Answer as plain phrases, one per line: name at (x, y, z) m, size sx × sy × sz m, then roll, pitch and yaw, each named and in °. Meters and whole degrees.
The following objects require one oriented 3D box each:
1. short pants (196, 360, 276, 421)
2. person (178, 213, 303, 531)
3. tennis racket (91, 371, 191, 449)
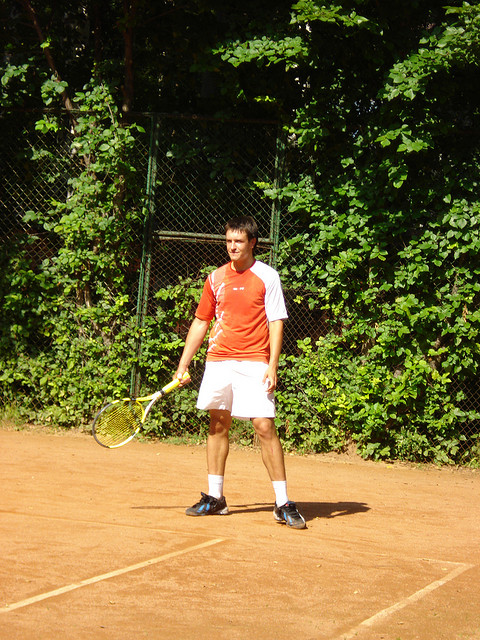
short pants at (-0.032, 0.451, 4.479) m, size 0.591 × 0.423 × 0.314 m, roll 3°, pitch -10°, yaw 8°
person at (0.023, 0.353, 4.451) m, size 0.870 × 2.144 × 0.511 m, roll 1°, pitch -1°, yaw 6°
tennis racket at (-1.014, 0.899, 6.501) m, size 1.130 × 0.383 × 0.085 m, roll -26°, pitch -1°, yaw -4°
